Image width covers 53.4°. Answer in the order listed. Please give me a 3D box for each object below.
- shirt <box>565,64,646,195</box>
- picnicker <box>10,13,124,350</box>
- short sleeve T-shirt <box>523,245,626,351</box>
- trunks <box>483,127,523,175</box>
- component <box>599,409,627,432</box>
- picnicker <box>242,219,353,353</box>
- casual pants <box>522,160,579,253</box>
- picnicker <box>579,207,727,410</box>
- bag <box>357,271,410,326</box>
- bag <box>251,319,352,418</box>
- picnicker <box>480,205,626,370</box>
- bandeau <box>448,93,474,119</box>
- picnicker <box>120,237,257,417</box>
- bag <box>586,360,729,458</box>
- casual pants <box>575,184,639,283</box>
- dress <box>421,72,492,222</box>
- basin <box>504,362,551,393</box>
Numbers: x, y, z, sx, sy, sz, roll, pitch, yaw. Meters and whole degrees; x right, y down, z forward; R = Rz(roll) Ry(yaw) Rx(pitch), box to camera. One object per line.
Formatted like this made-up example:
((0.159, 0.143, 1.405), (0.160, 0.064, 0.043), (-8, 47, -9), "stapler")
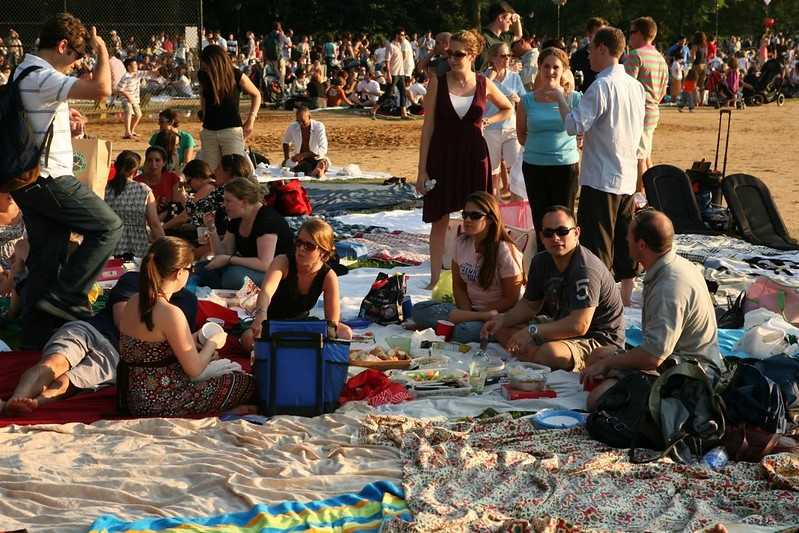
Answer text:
((2.035, -1.339, 7.917), (0.739, 1.204, 0.885), (8, 13, 38), "shirt")
((-3.075, -0.735, 7.227), (1.562, 2.905, 0.921), (8, 12, 40), "picnicker")
((1.489, 0.237, 6.954), (1.007, 0.847, 0.868), (0, 9, 3), "short sleeve T-shirt")
((1.470, -1.659, 11.385), (0.493, 0.691, 0.259), (3, -32, 5), "trunks")
((1.524, 1.100, 5.672), (0.078, 0.037, 0.159), (-24, 40, -16), "component")
((-0.908, 0.161, 6.969), (0.972, 1.092, 0.839), (5, 3, -23), "picnicker")
((1.590, -0.547, 8.355), (0.542, 0.436, 1.378), (5, 52, 5), "casual pants")
((2.180, 0.237, 6.923), (1.361, 2.157, 1.391), (0, 6, 19), "picnicker")
((-0.129, 0.348, 7.948), (0.526, 0.527, 0.323), (1, -6, 32), "bag")
((-0.798, 0.770, 6.400), (0.814, 0.772, 0.659), (2, 6, -4), "bag")
((1.426, 0.205, 6.998), (1.166, 1.393, 1.168), (-1, 10, -15), "picnicker")
((0.644, -1.701, 8.428), (0.272, 0.277, 0.045), (0, 4, -1), "bandeau")
((-1.745, 0.481, 6.286), (0.956, 1.345, 1.061), (12, 11, 40), "picnicker")
((1.908, 1.005, 5.999), (1.150, 0.490, 1.039), (-27, -8, 23), "bag")
((1.937, -0.326, 7.446), (0.724, 1.019, 0.388), (-19, 17, -37), "casual pants")
((0.647, -1.058, 8.688), (0.690, 1.989, 0.554), (1, 8, -1), "dress")
((1.072, 0.895, 6.390), (0.234, 0.116, 0.240), (5, 4, 0), "basin")
